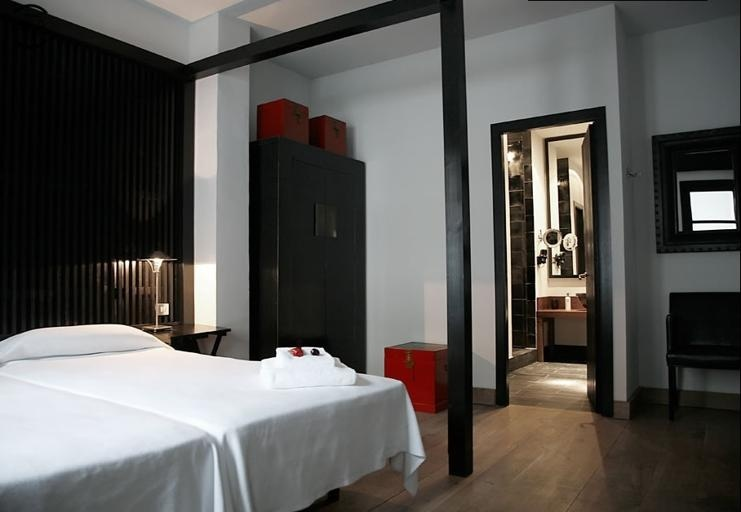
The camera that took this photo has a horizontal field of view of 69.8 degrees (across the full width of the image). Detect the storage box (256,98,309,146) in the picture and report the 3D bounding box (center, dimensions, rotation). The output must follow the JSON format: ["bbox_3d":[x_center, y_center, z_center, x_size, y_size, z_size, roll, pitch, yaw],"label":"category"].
[{"bbox_3d":[-0.850,-1.263,5.287,0.429,0.454,0.448,2,2,38],"label":"storage box"}]

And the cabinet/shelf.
[{"bbox_3d":[-0.578,0.064,5.246,1.260,1.994,0.393,-1,0,-41],"label":"cabinet/shelf"}]

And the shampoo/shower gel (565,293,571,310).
[{"bbox_3d":[2.650,0.599,7.103,0.078,0.232,0.156,-1,0,18],"label":"shampoo/shower gel"}]

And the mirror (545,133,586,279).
[{"bbox_3d":[2.692,-0.664,7.353,0.465,2.030,0.423,-1,0,18],"label":"mirror"}]

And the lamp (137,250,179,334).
[{"bbox_3d":[-1.745,0.275,4.360,0.275,0.531,0.466,-1,0,-21],"label":"lamp"}]
